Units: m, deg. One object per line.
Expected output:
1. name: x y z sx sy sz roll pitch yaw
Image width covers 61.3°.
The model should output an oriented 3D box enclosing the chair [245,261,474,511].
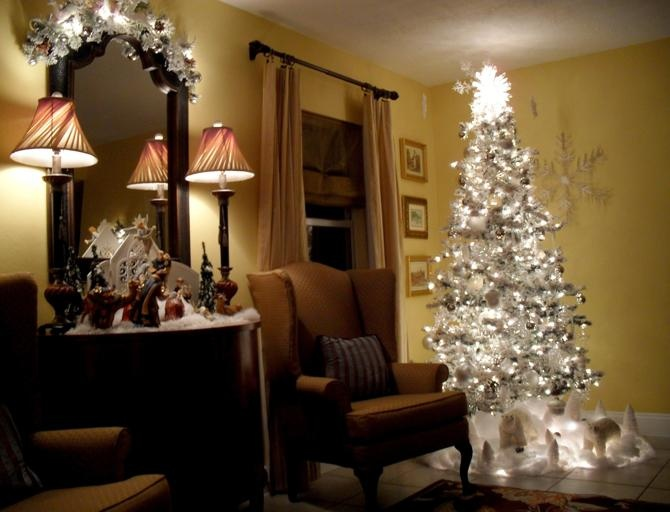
1. chair: 0.344 0.813 4.174 1.416 1.997 1.540 -12 -12 42

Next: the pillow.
1. pillow: 0.116 0.724 3.636 0.348 0.306 0.136 5 -19 -37

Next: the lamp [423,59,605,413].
1. lamp: 1.292 -0.185 4.346 1.197 2.480 0.612 -1 0 8
